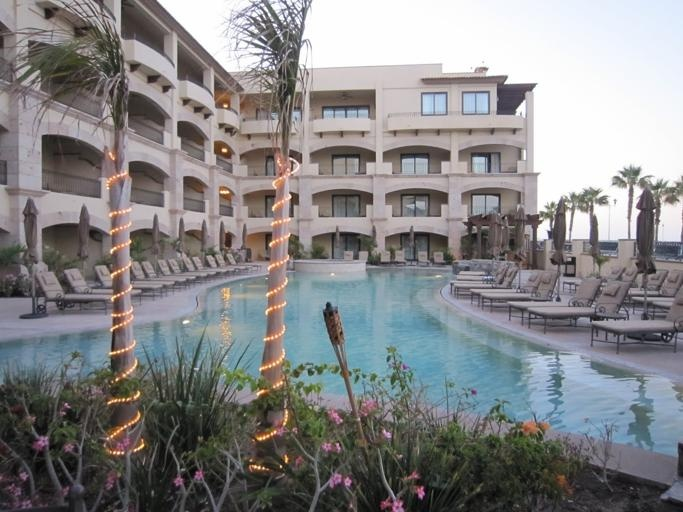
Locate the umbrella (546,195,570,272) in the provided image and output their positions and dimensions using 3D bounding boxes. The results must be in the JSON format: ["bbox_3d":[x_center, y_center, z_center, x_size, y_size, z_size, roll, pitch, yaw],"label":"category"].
[{"bbox_3d":[6.506,-0.726,17.964,0.514,1.962,0.447,2,1,37],"label":"umbrella"}]

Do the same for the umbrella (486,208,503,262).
[{"bbox_3d":[5.862,-0.831,23.034,0.552,1.825,0.615,3,8,-18],"label":"umbrella"}]
